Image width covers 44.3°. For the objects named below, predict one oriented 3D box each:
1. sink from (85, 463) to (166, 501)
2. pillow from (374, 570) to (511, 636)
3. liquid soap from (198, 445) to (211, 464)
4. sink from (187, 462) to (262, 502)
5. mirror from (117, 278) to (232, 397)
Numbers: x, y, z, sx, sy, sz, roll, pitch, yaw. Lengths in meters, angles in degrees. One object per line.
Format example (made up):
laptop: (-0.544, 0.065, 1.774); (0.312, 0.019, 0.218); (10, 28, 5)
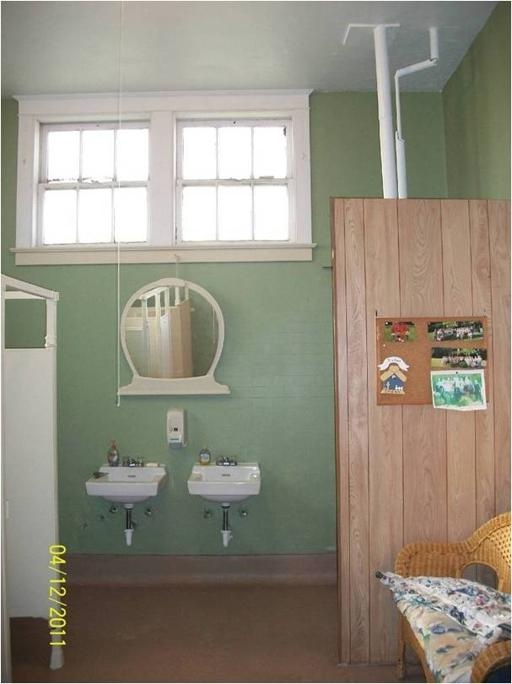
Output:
sink: (-0.744, 0.820, 3.573); (0.416, 0.218, 0.380); (-3, -2, -3)
pillow: (0.759, 0.967, 2.357); (0.179, 0.077, 0.268); (-5, 13, -37)
liquid soap: (-0.308, 0.670, 3.703); (0.081, 0.097, 0.078); (-2, -2, -6)
sink: (-0.183, 0.812, 3.531); (0.416, 0.212, 0.397); (-3, -2, -1)
mirror: (-0.500, 0.001, 3.754); (0.601, 0.708, 0.042); (0, -7, -3)
